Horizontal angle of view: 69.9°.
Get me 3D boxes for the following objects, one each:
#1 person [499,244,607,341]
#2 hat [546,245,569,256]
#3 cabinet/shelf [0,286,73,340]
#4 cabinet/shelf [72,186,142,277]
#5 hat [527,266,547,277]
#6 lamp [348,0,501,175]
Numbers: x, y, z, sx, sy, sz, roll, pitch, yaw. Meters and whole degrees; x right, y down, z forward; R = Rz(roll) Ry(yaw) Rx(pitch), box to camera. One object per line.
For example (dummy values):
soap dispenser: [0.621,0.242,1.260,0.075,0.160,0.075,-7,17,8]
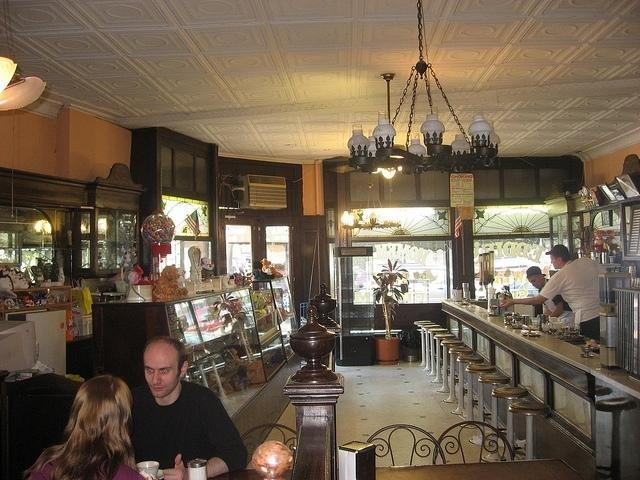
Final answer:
person: [3.089,0.586,6.041,1.216,1.516,1.305,-1,1,43]
hat: [3.335,0.145,6.489,0.289,0.137,0.210,6,3,36]
cabinet/shelf: [-3.336,0.841,5.369,0.255,0.489,0.808,-4,-5,10]
cabinet/shelf: [-3.102,-0.094,6.917,1.106,1.370,0.423,2,-2,16]
hat: [3.352,0.486,7.145,0.189,0.113,0.254,-6,6,-36]
lamp: [1.173,-1.572,5.603,1.785,1.919,1.647,0,-3,0]
